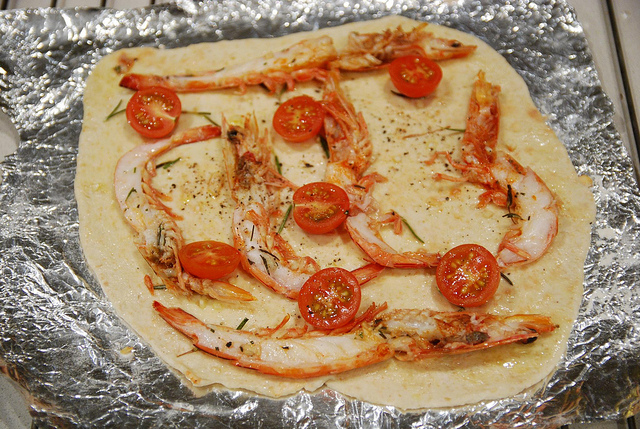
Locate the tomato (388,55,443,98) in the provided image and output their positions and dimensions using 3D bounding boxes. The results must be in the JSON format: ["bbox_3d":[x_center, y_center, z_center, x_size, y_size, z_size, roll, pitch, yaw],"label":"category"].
[{"bbox_3d":[1.031,-1.520,9.610,0.470,0.185,0.457,-28,71,-11],"label":"tomato"}]
